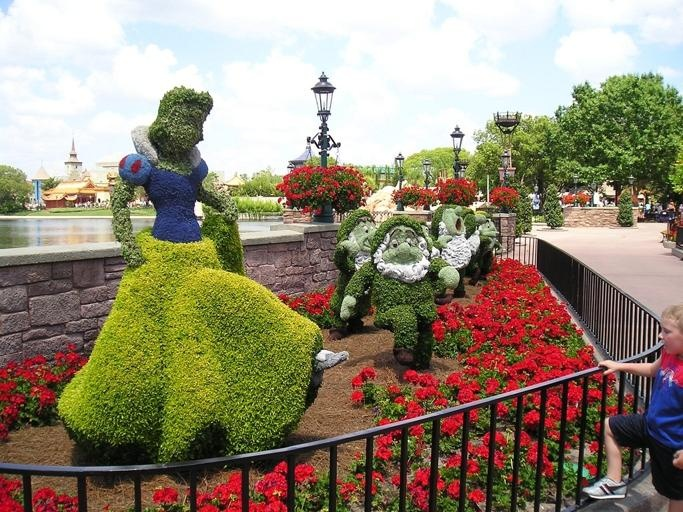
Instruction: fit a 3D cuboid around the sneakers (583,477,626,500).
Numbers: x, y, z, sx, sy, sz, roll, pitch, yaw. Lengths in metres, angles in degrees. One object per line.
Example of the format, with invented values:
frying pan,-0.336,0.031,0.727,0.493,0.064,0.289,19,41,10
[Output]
sneakers,1.726,1.525,3.277,0.325,0.139,0.131,1,-8,0
